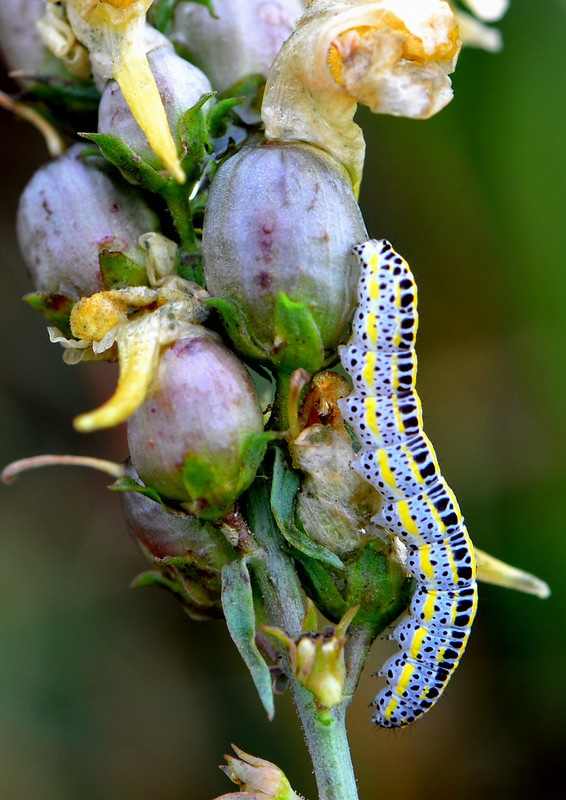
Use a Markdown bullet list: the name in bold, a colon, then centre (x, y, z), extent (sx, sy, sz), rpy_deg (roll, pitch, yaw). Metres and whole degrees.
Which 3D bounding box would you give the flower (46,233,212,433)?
- **flower**: centre (-0.213, -0.098, 1.371), extent (0.236, 0.118, 0.313), rpy_deg (7, 51, -6)
